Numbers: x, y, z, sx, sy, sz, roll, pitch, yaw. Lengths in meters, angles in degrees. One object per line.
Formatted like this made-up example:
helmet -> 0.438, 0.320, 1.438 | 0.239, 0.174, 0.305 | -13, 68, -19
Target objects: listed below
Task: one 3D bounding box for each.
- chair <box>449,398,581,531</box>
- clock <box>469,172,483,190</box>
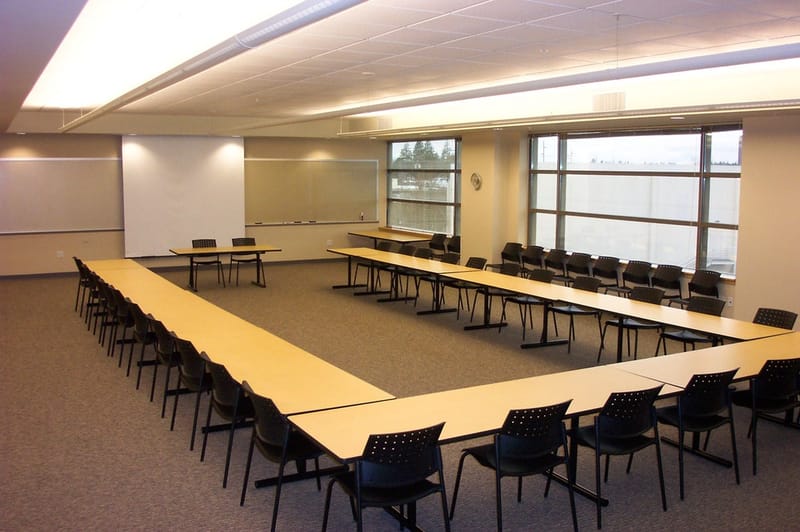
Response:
chair -> 1.036, 1.645, 4.735 | 1.058, 1.144, 0.720 | -2, 6, -23
clock -> 1.847, -2.059, 13.559 | 0.074, 0.436, 0.384 | -3, 7, -30
